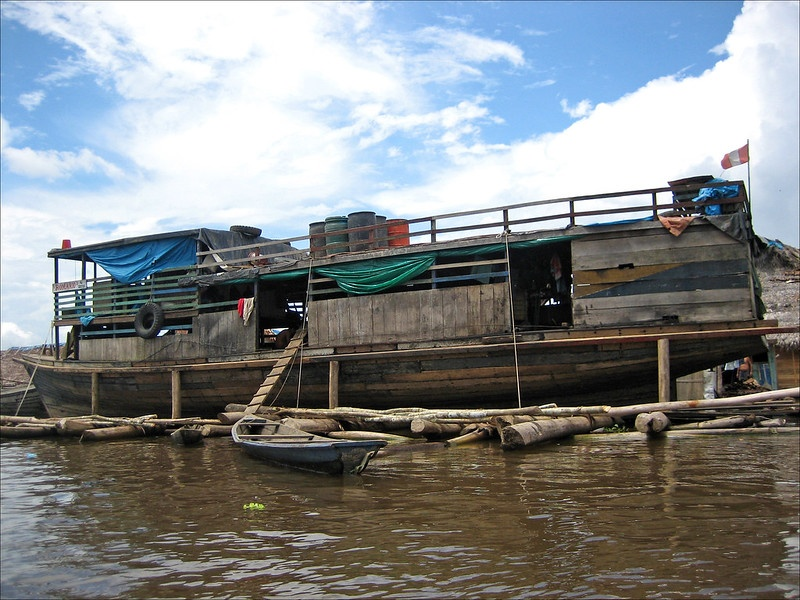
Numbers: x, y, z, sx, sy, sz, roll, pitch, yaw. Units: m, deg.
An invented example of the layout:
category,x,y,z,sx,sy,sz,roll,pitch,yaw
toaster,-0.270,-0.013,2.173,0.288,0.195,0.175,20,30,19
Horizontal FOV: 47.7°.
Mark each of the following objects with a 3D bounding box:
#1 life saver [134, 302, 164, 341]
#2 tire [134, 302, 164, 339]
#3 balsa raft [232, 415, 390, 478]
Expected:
category,x,y,z,sx,sy,sz,roll,pitch,yaw
life saver,-6.989,0.615,25.547,0.409,0.948,1.368,10,-7,-44
tire,-7.027,0.619,25.481,0.920,1.059,0.657,8,20,40
balsa raft,-1.294,2.550,16.847,3.654,0.631,0.374,-10,-34,33
